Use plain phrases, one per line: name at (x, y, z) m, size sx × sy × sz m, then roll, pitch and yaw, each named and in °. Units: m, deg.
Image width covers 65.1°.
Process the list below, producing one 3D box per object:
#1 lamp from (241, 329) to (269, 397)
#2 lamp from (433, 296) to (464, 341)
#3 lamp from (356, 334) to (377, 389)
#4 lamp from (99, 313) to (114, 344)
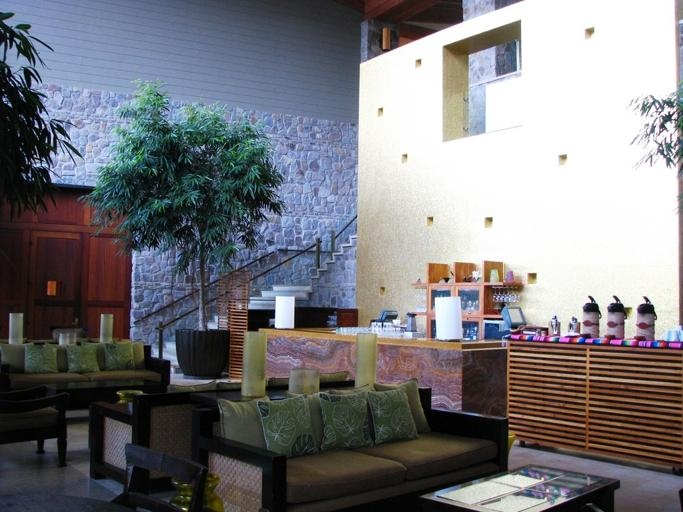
lamp at (-0.686, 0.830, 4.166) m, size 0.185 × 0.503 × 0.300 m, roll 1°, pitch -1°, yaw -12°
lamp at (1.139, 0.661, 5.704) m, size 0.274 × 0.455 × 0.264 m, roll 1°, pitch -1°, yaw 10°
lamp at (0.217, 0.885, 4.661) m, size 0.137 × 0.501 × 0.121 m, roll -2°, pitch 15°, yaw -13°
lamp at (-3.468, 1.057, 7.868) m, size 0.171 × 0.380 × 0.377 m, roll 1°, pitch -2°, yaw -24°
